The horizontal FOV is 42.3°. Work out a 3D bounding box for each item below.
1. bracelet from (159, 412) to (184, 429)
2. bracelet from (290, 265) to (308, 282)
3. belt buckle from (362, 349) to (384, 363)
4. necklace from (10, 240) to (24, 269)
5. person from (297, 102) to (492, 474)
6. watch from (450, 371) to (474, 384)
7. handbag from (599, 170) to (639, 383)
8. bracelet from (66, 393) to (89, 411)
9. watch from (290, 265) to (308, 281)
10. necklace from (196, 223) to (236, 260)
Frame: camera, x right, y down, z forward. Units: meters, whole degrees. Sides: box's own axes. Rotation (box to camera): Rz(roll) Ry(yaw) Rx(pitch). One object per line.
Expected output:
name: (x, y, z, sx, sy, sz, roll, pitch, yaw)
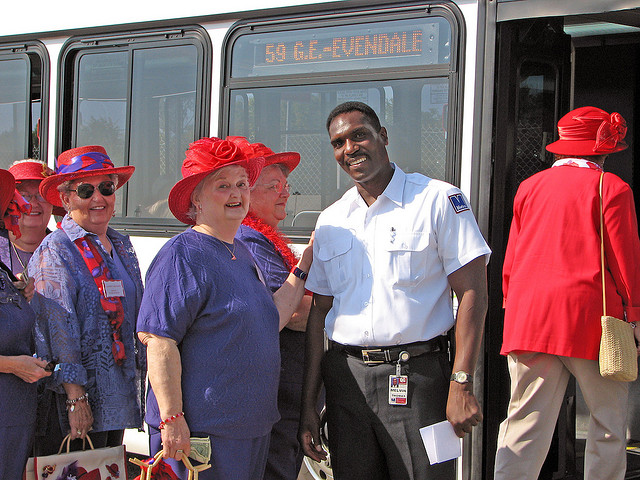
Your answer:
bracelet: (-0.724, 0.880, 4.050, 0.092, 0.023, 0.078, -20, -5, -20)
bracelet: (-0.121, 0.189, 4.638, 0.088, 0.035, 0.061, 28, -2, -34)
belt buckle: (0.264, 0.600, 4.259, 0.087, 0.059, 0.037, -1, 3, 15)
necklace: (-1.928, 0.100, 5.301, 0.027, 0.196, 0.010, -9, 29, 16)
person: (0.364, 0.240, 4.364, 0.995, 1.667, 0.404, -2, 1, 32)
watch: (0.715, 0.681, 4.137, 0.092, 0.053, 0.082, 2, -2, -22)
handbag: (1.752, 0.233, 4.954, 0.206, 0.958, 0.298, -3, 1, 23)
bracelet: (-1.345, 0.908, 4.649, 0.122, 0.094, 0.072, -4, 1, -24)
watch: (-0.117, 0.184, 4.648, 0.084, 0.036, 0.065, 33, 10, 30)
necklace: (-0.540, 0.010, 4.275, 0.017, 0.237, 0.049, -49, 0, 30)
